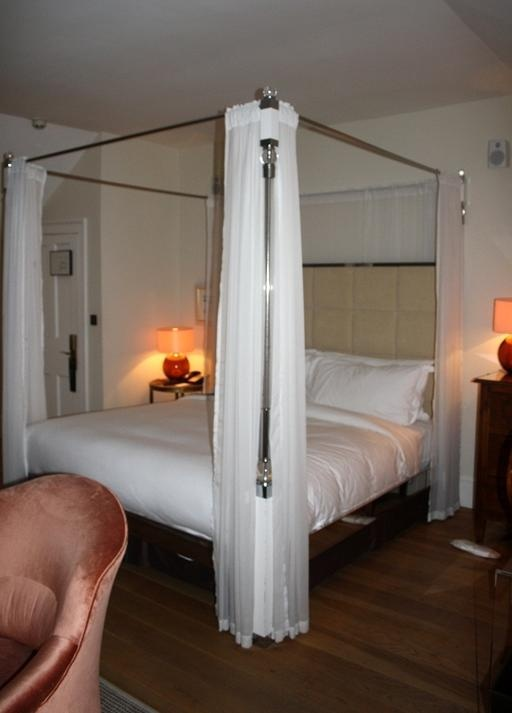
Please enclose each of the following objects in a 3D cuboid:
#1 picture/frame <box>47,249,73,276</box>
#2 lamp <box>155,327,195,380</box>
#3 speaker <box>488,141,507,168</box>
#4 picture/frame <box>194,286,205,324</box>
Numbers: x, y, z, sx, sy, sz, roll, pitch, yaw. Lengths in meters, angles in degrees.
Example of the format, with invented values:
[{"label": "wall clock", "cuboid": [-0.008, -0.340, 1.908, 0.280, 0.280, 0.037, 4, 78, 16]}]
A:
[{"label": "picture/frame", "cuboid": [-1.744, -0.842, 4.927, 0.221, 0.244, 0.054, 0, -1, 25]}, {"label": "lamp", "cuboid": [-0.736, -0.032, 5.117, 0.295, 0.531, 0.300, 8, 11, 44]}, {"label": "speaker", "cuboid": [1.507, -1.266, 3.420, 0.122, 0.163, 0.059, 1, 1, 14]}, {"label": "picture/frame", "cuboid": [-0.527, -0.503, 5.198, 0.054, 0.347, 0.210, 0, 2, -23]}]
